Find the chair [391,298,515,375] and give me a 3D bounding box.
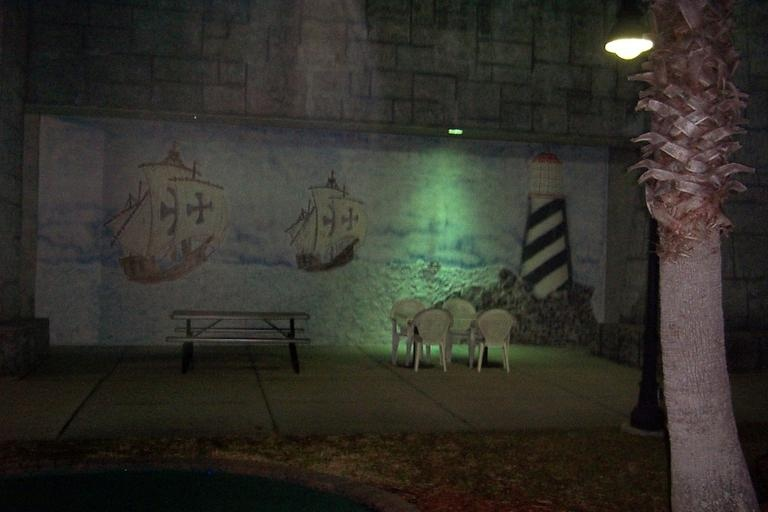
[{"bbox_3d":[0.981,1.138,12.787,1.323,0.714,1.358,1,1,-8],"label":"chair"}]
